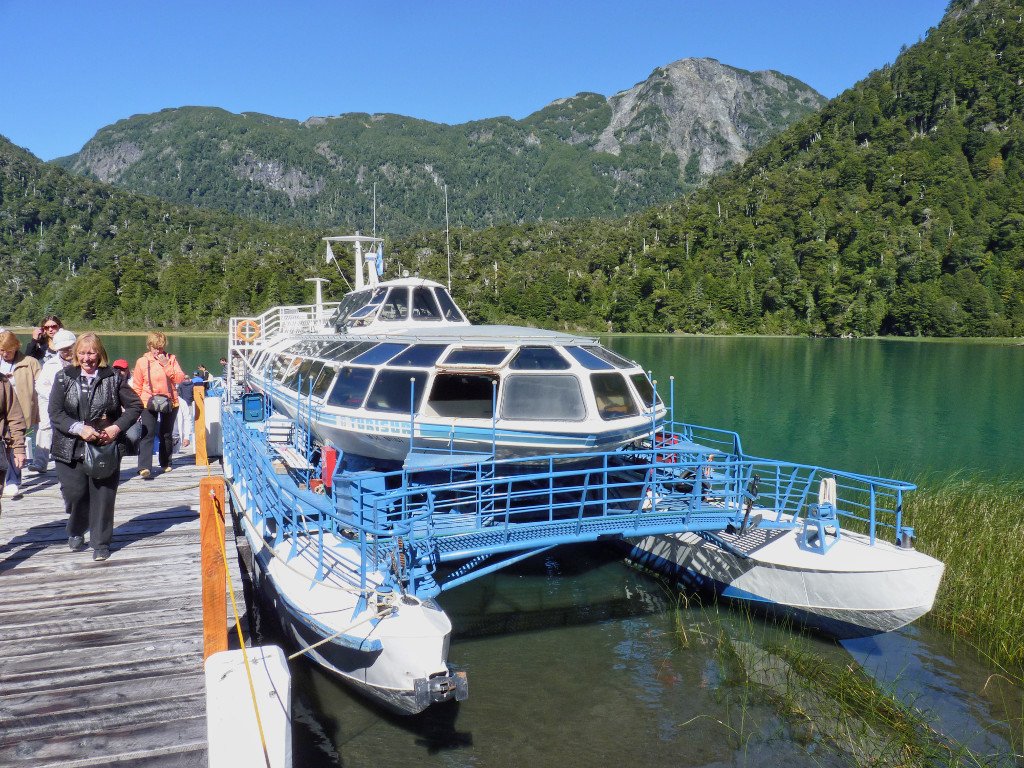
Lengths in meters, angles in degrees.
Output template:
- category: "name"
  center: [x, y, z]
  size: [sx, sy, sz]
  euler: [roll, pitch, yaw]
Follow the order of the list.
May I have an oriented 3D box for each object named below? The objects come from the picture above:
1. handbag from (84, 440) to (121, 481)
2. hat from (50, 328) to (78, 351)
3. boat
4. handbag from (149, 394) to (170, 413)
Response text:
- category: "handbag"
  center: [-5.630, 1.037, 10.279]
  size: [0.532, 0.734, 0.194]
  euler: [-4, 1, -33]
- category: "hat"
  center: [-7.741, -0.777, 12.991]
  size: [0.416, 0.360, 0.640]
  euler: [-19, 3, -32]
- category: "boat"
  center: [-1.851, 1.666, 16.089]
  size: [7.715, 4.980, 13.904]
  euler: [-1, 3, -27]
- category: "handbag"
  center: [-6.978, 0.400, 14.829]
  size: [0.327, 0.297, 0.131]
  euler: [0, 11, -42]
